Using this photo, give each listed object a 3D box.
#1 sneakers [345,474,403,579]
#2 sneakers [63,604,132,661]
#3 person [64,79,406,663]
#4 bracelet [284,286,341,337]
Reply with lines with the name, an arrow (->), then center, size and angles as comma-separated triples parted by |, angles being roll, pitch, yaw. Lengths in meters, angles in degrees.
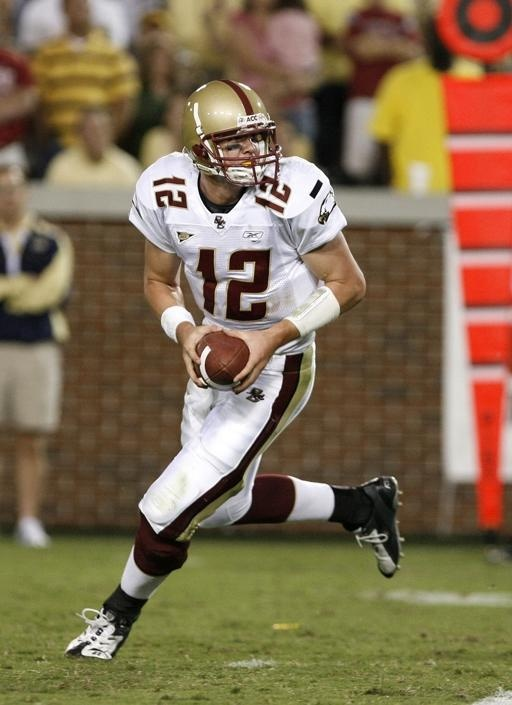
sneakers -> 0.392, 0.540, 2.995 | 0.207, 0.319, 0.128 | -6, 0, -29
sneakers -> -0.424, 0.774, 2.636 | 0.116, 0.093, 0.230 | 24, 4, 11
person -> -0.034, 0.064, 2.798 | 0.978, 1.610, 0.861 | 0, 0, -8
bracelet -> 0.156, -0.112, 2.473 | 0.165, 0.103, 0.057 | -31, 0, -13
